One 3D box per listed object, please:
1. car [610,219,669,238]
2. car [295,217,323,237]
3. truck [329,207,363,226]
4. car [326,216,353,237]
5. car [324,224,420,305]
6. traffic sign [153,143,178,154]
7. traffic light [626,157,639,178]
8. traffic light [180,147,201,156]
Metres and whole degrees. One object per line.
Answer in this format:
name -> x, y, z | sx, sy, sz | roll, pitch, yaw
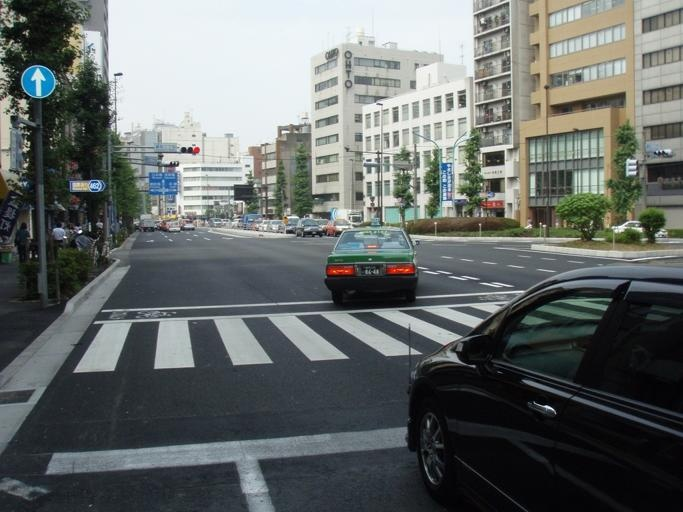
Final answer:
car -> 18.716, -1.716, 39.787 | 1.497, 1.271, 2.654 | 0, 13, 0
car -> -3.257, -2.798, 61.817 | 1.355, 1.307, 2.600 | 0, -1, -16
truck -> 0.646, -5.504, 87.641 | 2.718, 2.847, 5.171 | -2, 2, -29
car -> -0.186, -2.941, 65.136 | 1.682, 1.669, 3.351 | -1, -1, -18
car -> 0.718, 0.251, 15.133 | 2.053, 1.780, 2.129 | 0, 4, 3
traffic sign -> -13.893, -8.601, 50.433 | 1.594, 0.894, 2.890 | -2, 5, -13
traffic light -> 15.943, -4.883, 34.865 | 0.491, 0.846, 2.080 | 1, 5, 22
traffic light -> -11.137, -7.834, 46.461 | 1.192, 0.727, 4.710 | -2, 5, -17
